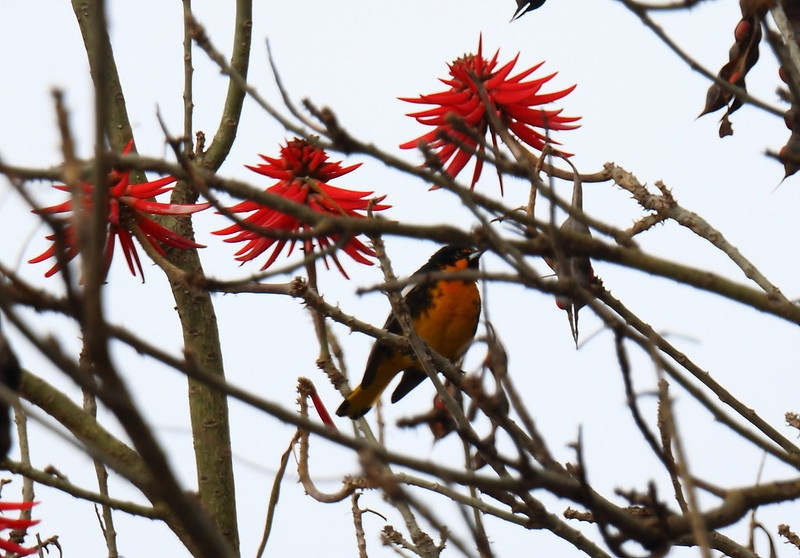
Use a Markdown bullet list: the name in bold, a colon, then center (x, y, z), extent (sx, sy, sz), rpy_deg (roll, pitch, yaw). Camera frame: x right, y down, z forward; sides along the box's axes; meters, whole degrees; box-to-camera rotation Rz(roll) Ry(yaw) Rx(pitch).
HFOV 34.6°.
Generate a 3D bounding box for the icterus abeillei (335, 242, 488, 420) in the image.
- **icterus abeillei**: center (0.061, 0.250, 5.602), extent (0.770, 0.565, 0.352), rpy_deg (-37, -53, 25)
